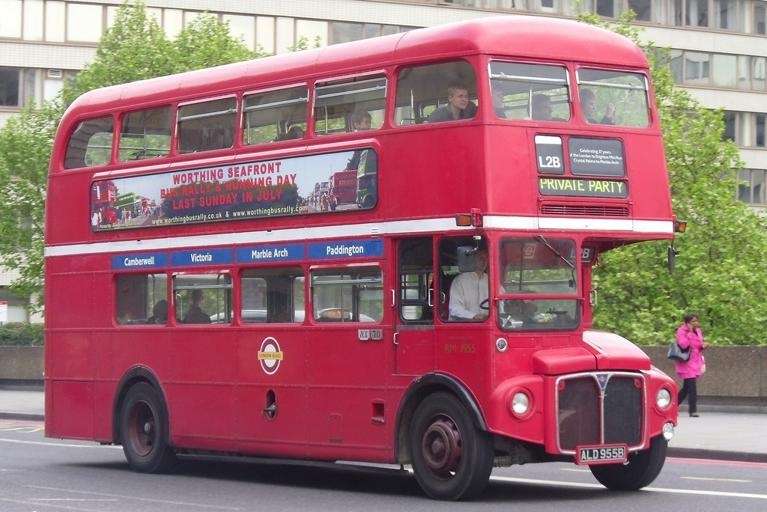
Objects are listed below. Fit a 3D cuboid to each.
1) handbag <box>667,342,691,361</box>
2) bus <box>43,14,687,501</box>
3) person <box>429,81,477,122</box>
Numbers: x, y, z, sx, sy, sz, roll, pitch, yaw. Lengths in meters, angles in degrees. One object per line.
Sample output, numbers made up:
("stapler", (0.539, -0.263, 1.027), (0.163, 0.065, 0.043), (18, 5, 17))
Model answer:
("handbag", (6.049, 1.946, 22.092), (0.526, 0.420, 0.197), (7, 4, 1))
("bus", (-0.923, 0.127, 17.203), (10.522, 5.036, 2.931), (-2, -1, 34))
("person", (1.000, -2.090, 14.834), (0.820, 0.499, 0.517), (-8, 10, -33))
